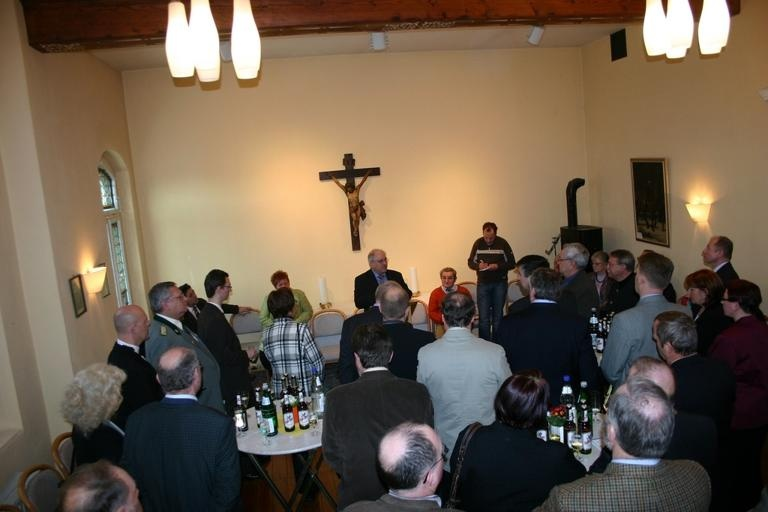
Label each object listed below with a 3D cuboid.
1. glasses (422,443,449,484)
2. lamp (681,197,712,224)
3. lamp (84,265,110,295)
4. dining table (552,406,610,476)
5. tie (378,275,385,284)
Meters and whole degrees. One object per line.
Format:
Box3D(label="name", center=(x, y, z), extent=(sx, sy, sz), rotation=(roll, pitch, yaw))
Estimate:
Box3D(label="glasses", center=(0.284, 1.126, 2.979), extent=(0.197, 0.060, 0.191), rotation=(-47, 3, -7))
Box3D(label="lamp", center=(3.937, -0.555, 7.097), extent=(0.290, 0.312, 0.271), rotation=(-4, -11, 28))
Box3D(label="lamp", center=(-3.455, 0.291, 6.629), extent=(0.267, 0.257, 0.324), rotation=(0, 11, 19))
Box3D(label="dining table", center=(1.514, 1.341, 4.109), extent=(0.183, 0.202, 0.611), rotation=(-2, 7, 31))
Box3D(label="tie", center=(-0.026, 0.283, 6.798), extent=(0.063, 0.094, 0.029), rotation=(-1, -16, -6))
